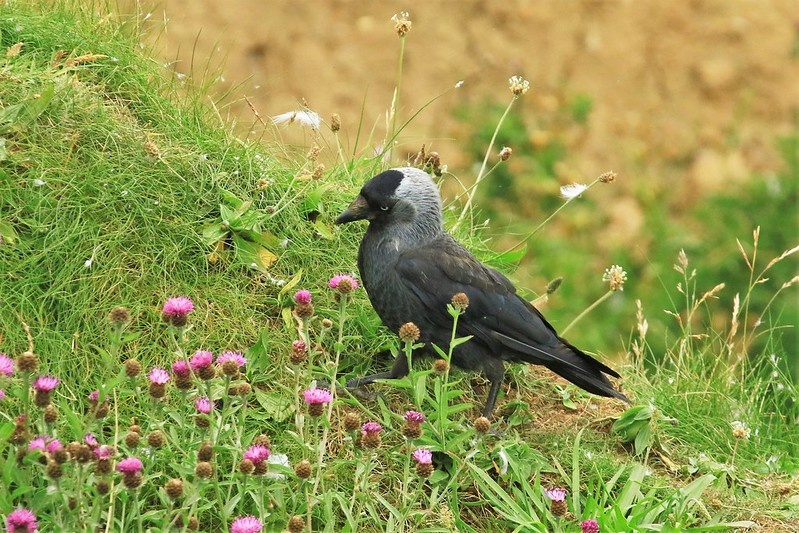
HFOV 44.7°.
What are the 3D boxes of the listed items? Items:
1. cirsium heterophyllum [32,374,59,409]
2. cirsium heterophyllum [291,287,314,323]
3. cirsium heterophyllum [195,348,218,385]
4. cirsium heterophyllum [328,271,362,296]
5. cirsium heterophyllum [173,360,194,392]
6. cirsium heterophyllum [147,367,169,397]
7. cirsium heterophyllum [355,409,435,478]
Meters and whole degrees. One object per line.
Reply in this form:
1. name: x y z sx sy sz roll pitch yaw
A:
1. cirsium heterophyllum: -1.588 0.547 4.346 0.134 0.160 0.132 8 2 -20
2. cirsium heterophyllum: -0.461 0.192 4.711 0.142 0.173 0.142 0 -1 -22
3. cirsium heterophyllum: -0.890 0.451 4.447 0.123 0.123 0.121 -17 12 -2
4. cirsium heterophyllum: -0.266 0.090 4.711 0.119 0.075 0.129 23 -1 -8
5. cirsium heterophyllum: -0.981 0.492 4.377 0.118 0.148 0.118 5 -15 -30
6. cirsium heterophyllum: -1.085 0.522 4.430 0.124 0.142 0.123 2 6 -9
7. cirsium heterophyllum: -0.021 0.837 4.479 0.250 0.332 0.260 -5 14 -34
